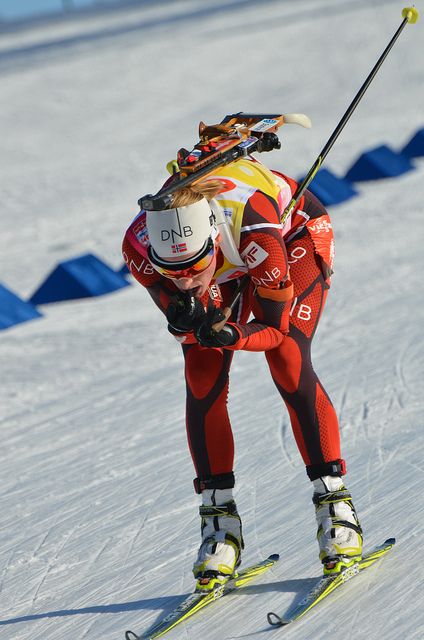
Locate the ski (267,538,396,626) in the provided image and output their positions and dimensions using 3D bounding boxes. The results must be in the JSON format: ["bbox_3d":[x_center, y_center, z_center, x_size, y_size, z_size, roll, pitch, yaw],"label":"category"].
[{"bbox_3d":[0.386,0.776,1.944,0.595,0.074,0.064,-15,-15,-38],"label":"ski"}]

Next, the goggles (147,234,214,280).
[{"bbox_3d":[-0.074,-0.141,1.621,0.124,0.052,0.135,-1,40,23],"label":"goggles"}]

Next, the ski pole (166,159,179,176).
[{"bbox_3d":[-0.133,-0.504,2.064,0.046,0.049,0.055,-8,2,-14],"label":"ski pole"}]

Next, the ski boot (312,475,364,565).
[{"bbox_3d":[0.377,0.613,1.921,0.127,0.282,0.326,-10,0,14],"label":"ski boot"}]

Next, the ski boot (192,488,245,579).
[{"bbox_3d":[0.022,0.657,1.953,0.144,0.288,0.320,-6,0,10],"label":"ski boot"}]
